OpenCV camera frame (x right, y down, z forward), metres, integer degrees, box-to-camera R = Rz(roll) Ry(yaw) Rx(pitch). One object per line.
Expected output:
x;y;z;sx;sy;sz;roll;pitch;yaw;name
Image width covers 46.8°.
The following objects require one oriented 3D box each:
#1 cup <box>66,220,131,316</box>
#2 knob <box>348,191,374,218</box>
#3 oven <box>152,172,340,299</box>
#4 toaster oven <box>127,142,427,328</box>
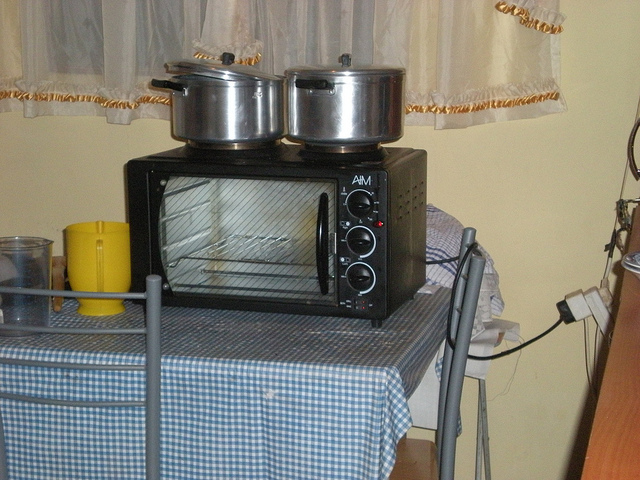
-0.490;0.060;1.746;0.154;0.218;0.232;-1;11;-10;cup
0.087;-0.074;1.542;0.045;0.053;0.053;4;11;10;knob
-0.131;-0.040;1.744;0.502;0.331;0.295;3;19;11;oven
-0.042;-0.108;1.756;0.565;0.401;0.458;3;17;17;toaster oven
